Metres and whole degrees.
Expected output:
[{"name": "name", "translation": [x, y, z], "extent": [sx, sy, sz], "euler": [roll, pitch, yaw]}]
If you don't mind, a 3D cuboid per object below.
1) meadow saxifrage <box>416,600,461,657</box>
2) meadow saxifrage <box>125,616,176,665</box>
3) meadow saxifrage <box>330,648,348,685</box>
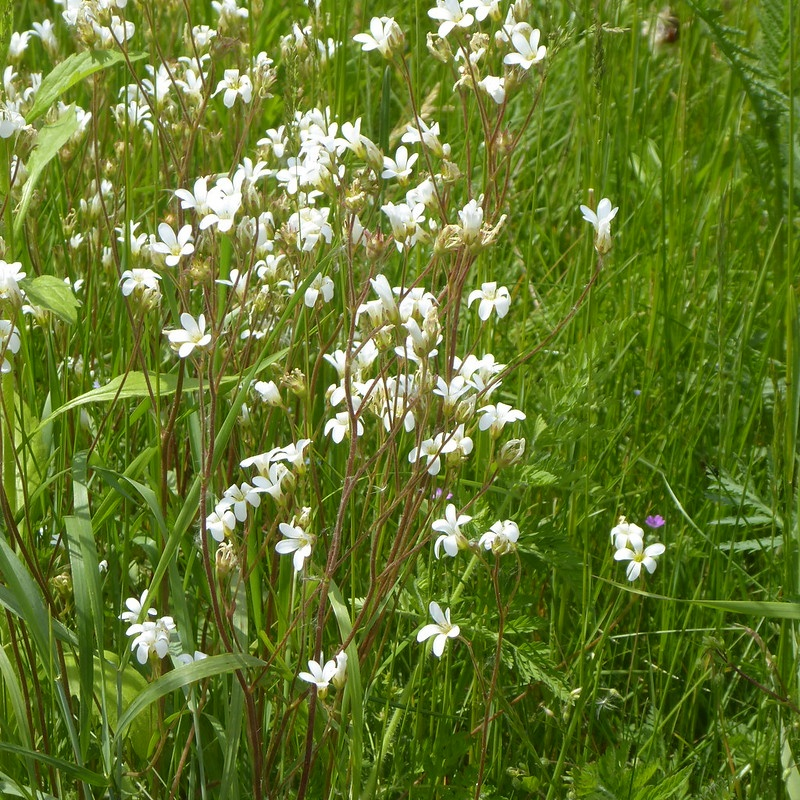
[{"name": "meadow saxifrage", "translation": [0.073, 0.430, 2.110], "extent": [0.073, 0.137, 0.029], "euler": [-6, -13, 31]}, {"name": "meadow saxifrage", "translation": [-0.476, 0.479, 2.170], "extent": [0.062, 0.069, 0.101], "euler": [7, 28, 13]}, {"name": "meadow saxifrage", "translation": [-0.112, 0.498, 2.070], "extent": [0.026, 0.061, 0.030], "euler": [-4, 15, -11]}]
